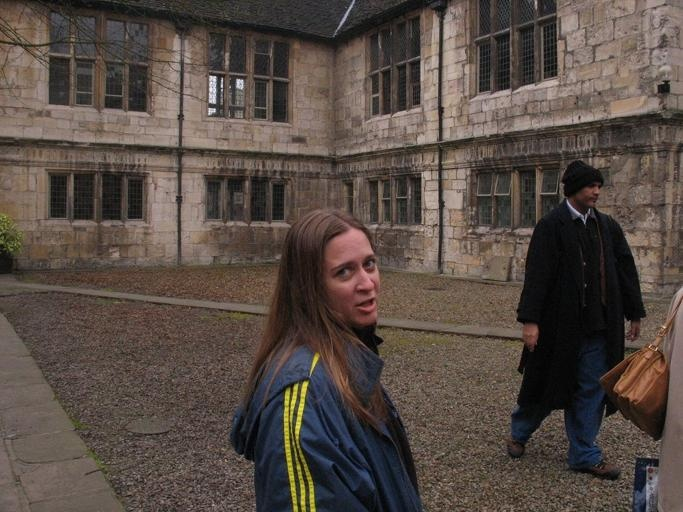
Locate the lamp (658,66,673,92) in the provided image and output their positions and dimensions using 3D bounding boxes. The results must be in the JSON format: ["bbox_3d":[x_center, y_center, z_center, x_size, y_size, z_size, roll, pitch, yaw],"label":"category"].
[{"bbox_3d":[5.882,-3.215,12.514,0.224,0.512,0.135,0,5,24],"label":"lamp"}]

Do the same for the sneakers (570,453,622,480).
[{"bbox_3d":[2.117,1.736,5.719,0.380,0.176,0.156,-3,2,24],"label":"sneakers"}]

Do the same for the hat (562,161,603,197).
[{"bbox_3d":[2.063,-0.676,5.930,0.329,0.352,0.277,2,-2,32],"label":"hat"}]

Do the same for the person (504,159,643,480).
[{"bbox_3d":[1.976,0.503,5.841,1.105,2.607,0.632,-1,5,5],"label":"person"}]
